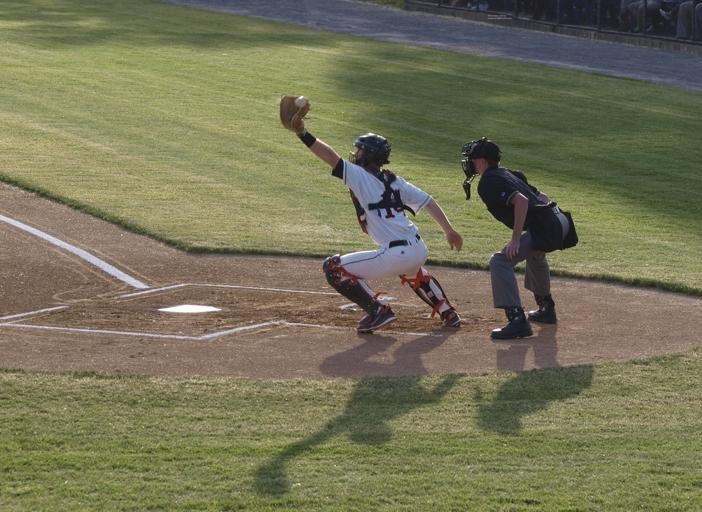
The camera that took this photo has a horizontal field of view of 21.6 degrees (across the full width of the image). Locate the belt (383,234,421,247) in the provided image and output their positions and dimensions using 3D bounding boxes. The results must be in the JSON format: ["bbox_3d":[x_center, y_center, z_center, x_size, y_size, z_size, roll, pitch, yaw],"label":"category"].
[{"bbox_3d":[0.822,-0.255,29.192,0.308,0.057,0.269,-17,0,32],"label":"belt"}]

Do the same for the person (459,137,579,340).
[{"bbox_3d":[2.628,-0.295,29.312,1.843,3.108,0.982,7,12,5],"label":"person"}]

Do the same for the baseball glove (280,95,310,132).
[{"bbox_3d":[-0.772,-2.297,29.120,0.536,0.533,0.646,7,7,23],"label":"baseball glove"}]

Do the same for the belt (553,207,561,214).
[{"bbox_3d":[3.251,-0.773,29.337,0.118,0.046,0.138,4,16,-6],"label":"belt"}]

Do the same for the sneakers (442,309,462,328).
[{"bbox_3d":[1.615,0.969,29.507,0.200,0.161,0.401,-26,16,-11],"label":"sneakers"}]

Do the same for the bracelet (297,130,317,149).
[{"bbox_3d":[-0.665,-1.873,29.005,0.359,0.218,0.137,36,-13,35],"label":"bracelet"}]
